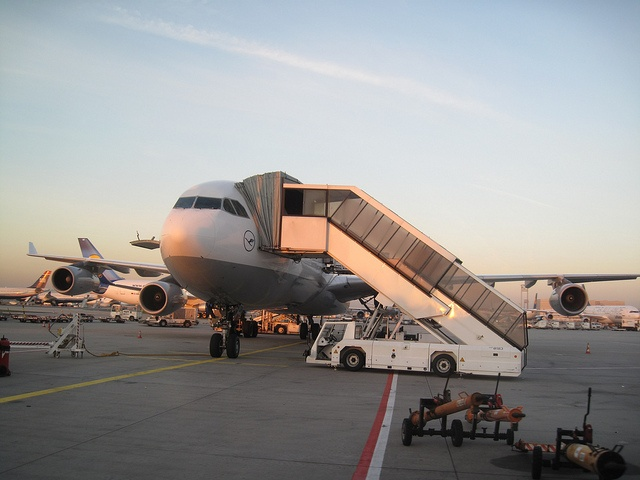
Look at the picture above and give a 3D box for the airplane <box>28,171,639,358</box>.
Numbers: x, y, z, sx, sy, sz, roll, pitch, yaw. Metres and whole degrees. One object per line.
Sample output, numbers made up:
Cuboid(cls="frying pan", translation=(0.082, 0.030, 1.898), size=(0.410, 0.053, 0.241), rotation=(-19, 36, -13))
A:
Cuboid(cls="airplane", translation=(-0.439, 1.234, 22.417), size=(12.566, 7.511, 12.743), rotation=(6, -5, -22))
